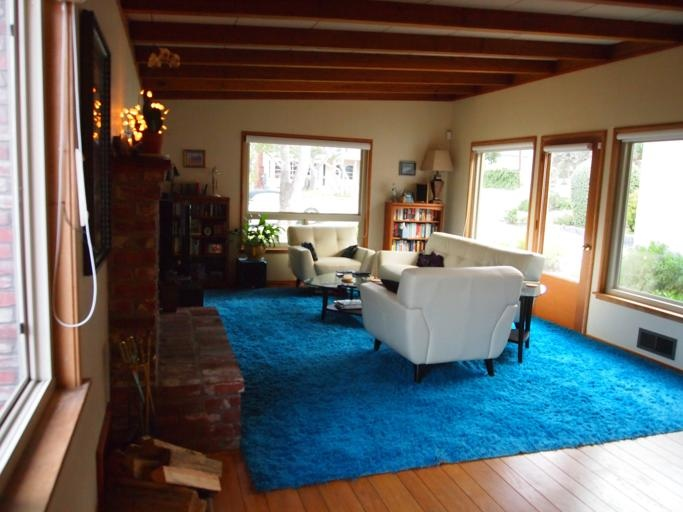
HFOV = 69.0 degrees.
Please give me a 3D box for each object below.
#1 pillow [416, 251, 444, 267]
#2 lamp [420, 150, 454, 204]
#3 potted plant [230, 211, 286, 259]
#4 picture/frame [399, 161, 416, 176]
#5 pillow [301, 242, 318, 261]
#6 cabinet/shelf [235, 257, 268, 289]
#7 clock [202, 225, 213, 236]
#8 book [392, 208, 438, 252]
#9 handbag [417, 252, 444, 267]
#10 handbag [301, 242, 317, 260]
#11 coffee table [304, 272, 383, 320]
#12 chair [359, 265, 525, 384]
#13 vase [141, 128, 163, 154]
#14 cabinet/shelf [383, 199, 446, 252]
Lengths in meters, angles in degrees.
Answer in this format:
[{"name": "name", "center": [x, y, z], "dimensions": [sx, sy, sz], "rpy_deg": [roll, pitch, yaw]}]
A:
[{"name": "pillow", "center": [1.083, 0.032, 6.179], "dimensions": [0.242, 0.083, 0.229], "rpy_deg": [0, 13, -5]}, {"name": "lamp", "center": [1.573, -1.324, 8.127], "dimensions": [0.569, 0.883, 0.465], "rpy_deg": [0, 14, -13]}, {"name": "potted plant", "center": [-1.316, -0.286, 7.408], "dimensions": [0.733, 0.481, 0.706], "rpy_deg": [2, 0, -1]}, {"name": "picture/frame", "center": [1.066, -1.445, 8.166], "dimensions": [0.265, 0.204, 0.026], "rpy_deg": [0, 11, -16]}, {"name": "pillow", "center": [-0.440, -0.064, 6.942], "dimensions": [0.084, 0.261, 0.233], "rpy_deg": [-17, 3, 12]}, {"name": "cabinet/shelf", "center": [-1.325, 0.257, 7.221], "dimensions": [0.443, 0.395, 0.433], "rpy_deg": [0, 4, -16]}, {"name": "clock", "center": [-1.982, -0.364, 7.275], "dimensions": [0.150, 0.136, 0.034], "rpy_deg": [-3, -10, -8]}, {"name": "book", "center": [1.151, -0.424, 7.990], "dimensions": [0.795, 0.694, 0.243], "rpy_deg": [-2, 5, -25]}, {"name": "handbag", "center": [1.084, 0.052, 6.184], "dimensions": [0.241, 0.082, 0.228], "rpy_deg": [0, 11, -6]}, {"name": "handbag", "center": [-0.433, -0.062, 6.942], "dimensions": [0.082, 0.252, 0.225], "rpy_deg": [-15, 2, 14]}, {"name": "coffee table", "center": [0.025, 0.446, 5.913], "dimensions": [0.725, 0.328, 0.679], "rpy_deg": [-1, 12, -12]}, {"name": "chair", "center": [0.847, 0.470, 4.504], "dimensions": [1.050, 0.914, 1.082], "rpy_deg": [-1, 7, -20]}, {"name": "vase", "center": [-1.183, -0.703, 3.064], "dimensions": [0.128, 0.139, 0.124], "rpy_deg": [-2, 14, -21]}, {"name": "cabinet/shelf", "center": [1.122, -0.486, 7.953], "dimensions": [0.996, 0.918, 0.334], "rpy_deg": [-1, 3, -20]}]
